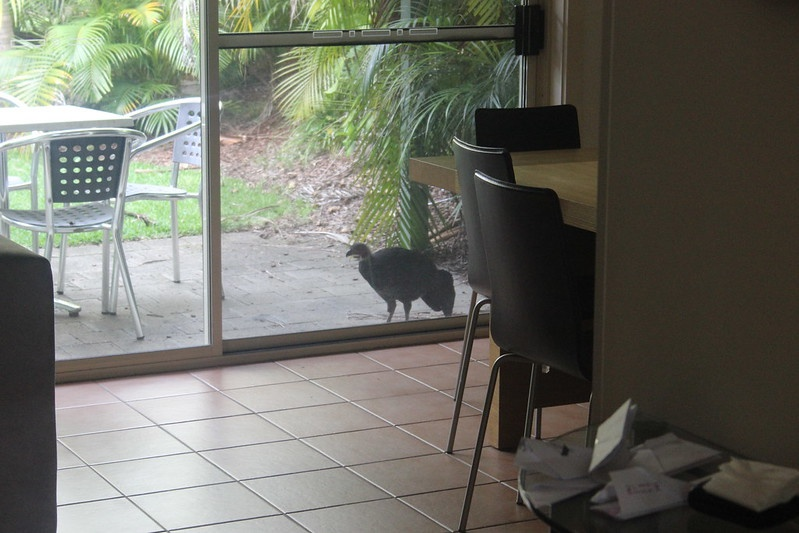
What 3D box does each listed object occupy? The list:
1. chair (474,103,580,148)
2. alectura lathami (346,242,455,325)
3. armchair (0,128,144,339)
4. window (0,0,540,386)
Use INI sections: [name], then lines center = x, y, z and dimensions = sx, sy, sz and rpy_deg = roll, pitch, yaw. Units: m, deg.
[chair]
center = 0.598, -0.625, 3.113
dimensions = 0.535, 0.191, 0.226
rpy_deg = -5, 18, -17
[alectura lathami]
center = 0.010, 0.117, 4.193
dimensions = 0.691, 0.435, 0.326
rpy_deg = 4, 5, -7
[armchair]
center = -1.691, -0.170, 3.643
dimensions = 0.666, 1.096, 0.276
rpy_deg = 0, 18, -2
[window]
center = -0.766, -0.401, 3.478
dimensions = 2.317, 1.494, 0.111
rpy_deg = -4, 14, -19
